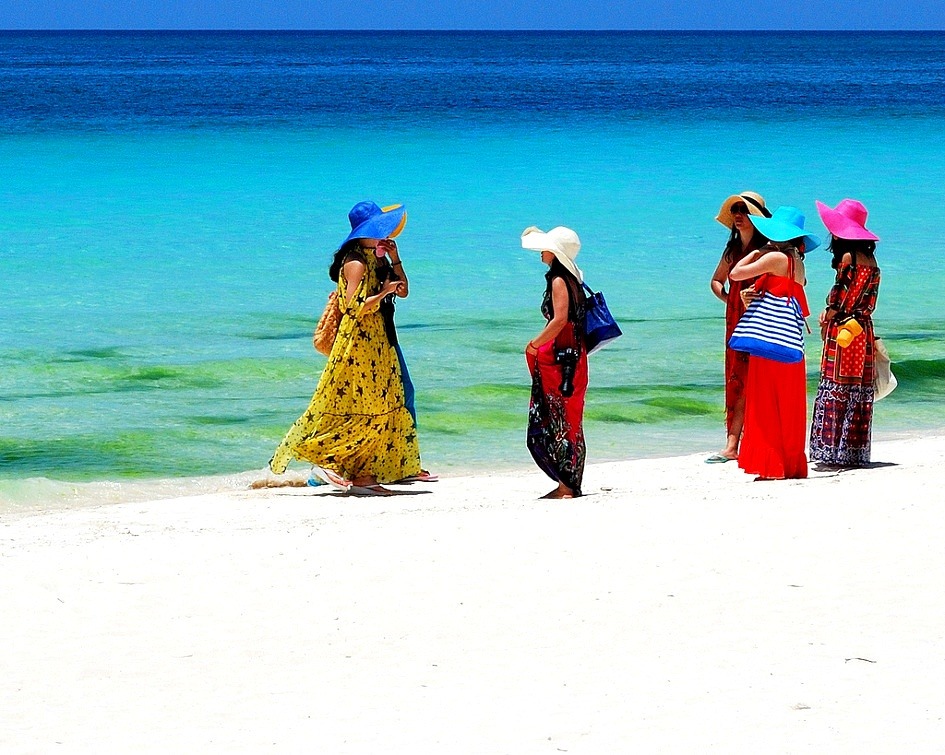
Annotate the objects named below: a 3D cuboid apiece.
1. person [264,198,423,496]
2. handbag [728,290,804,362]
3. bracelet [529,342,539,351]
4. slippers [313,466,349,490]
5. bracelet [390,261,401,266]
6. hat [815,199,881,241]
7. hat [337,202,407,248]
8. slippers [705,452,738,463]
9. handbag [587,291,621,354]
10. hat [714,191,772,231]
[{"bbox_3d":[-0.865,-0.183,12.105,1.106,2.188,0.531,-1,14,-8],"label":"person"},{"bbox_3d":[2.121,-0.370,11.782,0.577,0.470,0.210,14,-2,18],"label":"handbag"},{"bbox_3d":[0.415,-0.204,11.187,0.070,0.062,0.061,1,13,0],"label":"bracelet"},{"bbox_3d":[-1.044,0.753,12.300,0.288,0.119,0.106,36,-13,-31],"label":"slippers"},{"bbox_3d":[-0.565,-0.831,12.125,0.071,0.026,0.047,2,1,-20],"label":"bracelet"},{"bbox_3d":[2.737,-1.144,12.018,0.409,0.299,0.378,3,13,10],"label":"hat"},{"bbox_3d":[-0.713,-1.125,12.005,0.425,0.295,0.407,0,13,-4],"label":"hat"},{"bbox_3d":[2.021,0.662,13.387,0.247,0.079,0.077,2,-1,23],"label":"slippers"},{"bbox_3d":[0.912,-0.378,11.476,0.232,0.469,0.602,2,13,5],"label":"handbag"},{"bbox_3d":[2.105,-1.362,12.901,0.465,0.167,0.516,-2,-18,11],"label":"hat"}]
